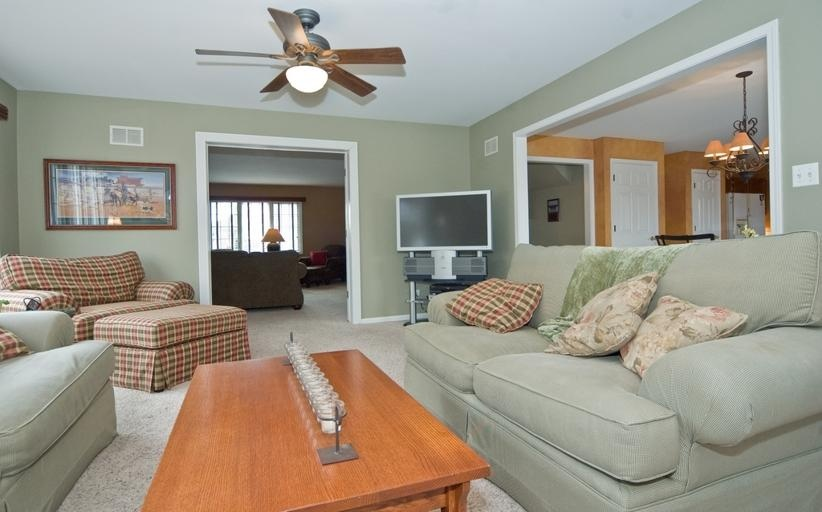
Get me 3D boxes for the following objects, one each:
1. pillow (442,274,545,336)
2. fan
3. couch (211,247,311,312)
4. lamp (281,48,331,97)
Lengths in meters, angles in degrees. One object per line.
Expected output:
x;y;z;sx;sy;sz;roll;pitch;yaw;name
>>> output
0.659;0.380;4.244;0.488;0.144;0.473;-7;17;31;pillow
-0.825;-1.706;4.608;1.187;0.690;1.406;-3;2;-19;fan
-2.249;0.340;7.978;1.578;1.041;0.826;-1;3;-18;couch
-0.847;-1.484;4.416;0.272;0.256;0.254;1;4;43;lamp
